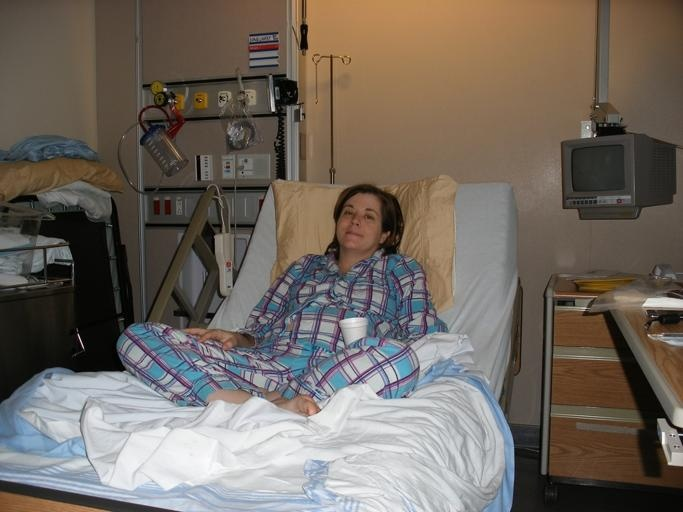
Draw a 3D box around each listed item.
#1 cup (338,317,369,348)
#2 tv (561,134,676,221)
[{"bbox_3d":[0.043,0.256,1.795,0.093,0.072,0.089,0,-1,0],"label":"cup"},{"bbox_3d":[1.435,-0.363,2.755,0.472,0.424,0.441,-5,5,-38],"label":"tv"}]
